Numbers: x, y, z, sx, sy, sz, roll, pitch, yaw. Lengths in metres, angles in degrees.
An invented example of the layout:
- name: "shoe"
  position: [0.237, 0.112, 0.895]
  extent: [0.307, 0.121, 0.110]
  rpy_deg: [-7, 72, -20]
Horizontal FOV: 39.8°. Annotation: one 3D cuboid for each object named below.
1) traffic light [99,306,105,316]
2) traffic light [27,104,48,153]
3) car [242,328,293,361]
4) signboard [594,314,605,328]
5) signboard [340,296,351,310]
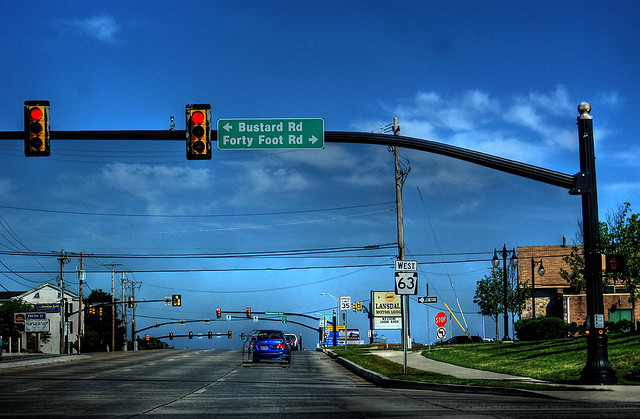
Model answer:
- name: "traffic light"
  position: [-22.832, 10.599, 92.278]
  extent: [0.362, 0.928, 0.848]
  rpy_deg: [0, -11, -18]
- name: "traffic light"
  position: [-13.907, -3.986, 43.564]
  extent: [0.939, 2.298, 0.576]
  rpy_deg: [0, -10, -15]
- name: "car"
  position: [-3.394, 8.904, 57.470]
  extent: [2.465, 2.009, 1.728]
  rpy_deg: [1, -11, -22]
- name: "signboard"
  position: [14.124, 5.667, 44.734]
  extent: [0.589, 0.678, 0.247]
  rpy_deg: [3, -12, -32]
- name: "signboard"
  position: [2.316, 8.657, 81.215]
  extent: [0.936, 0.972, 1.336]
  rpy_deg: [-1, -10, -8]
